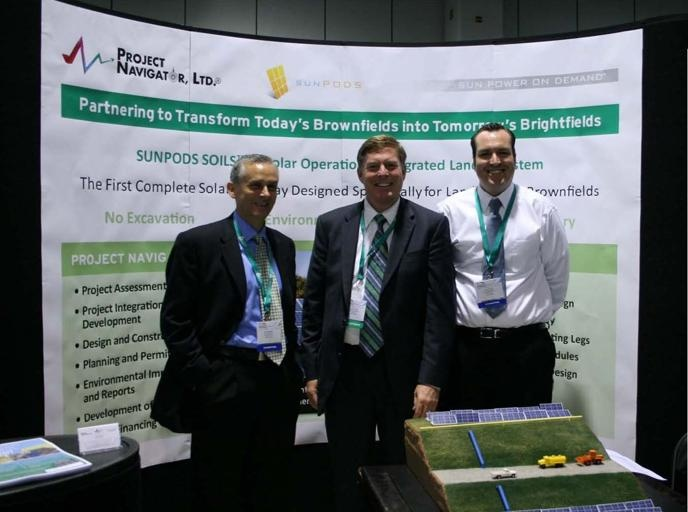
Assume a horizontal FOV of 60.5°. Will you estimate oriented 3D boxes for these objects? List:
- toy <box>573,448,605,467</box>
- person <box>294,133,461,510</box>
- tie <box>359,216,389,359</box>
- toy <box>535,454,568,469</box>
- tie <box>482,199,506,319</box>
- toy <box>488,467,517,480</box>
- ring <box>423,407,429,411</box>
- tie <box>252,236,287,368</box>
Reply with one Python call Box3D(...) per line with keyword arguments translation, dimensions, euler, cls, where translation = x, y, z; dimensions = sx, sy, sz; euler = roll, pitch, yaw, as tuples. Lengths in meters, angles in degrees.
Box3D(translation=(1.055, 0.868, 2.529), dimensions=(0.098, 0.060, 0.059), euler=(0, -10, -4), cls="toy")
Box3D(translation=(0.187, 0.382, 3.399), dimensions=(0.913, 2.150, 0.332), euler=(-3, 2, 10), cls="person")
Box3D(translation=(0.142, 0.203, 3.252), dimensions=(0.180, 0.990, 0.063), euler=(14, 32, 17), cls="tie")
Box3D(translation=(0.882, 0.876, 2.505), dimensions=(0.091, 0.051, 0.057), euler=(-4, -1, 3), cls="toy")
Box3D(translation=(0.888, 0.009, 3.530), dimensions=(0.150, 0.960, 0.042), euler=(-2, 40, 12), cls="tie")
Box3D(translation=(0.660, 0.905, 2.455), dimensions=(0.077, 0.030, 0.045), euler=(1, -4, -6), cls="toy")
Box3D(translation=(0.455, 0.838, 3.222), dimensions=(0.028, 0.036, 0.014), euler=(-4, 2, -9), cls="ring")
Box3D(translation=(-0.442, 0.260, 3.480), dimensions=(0.170, 0.906, 0.058), euler=(-2, 31, 1), cls="tie")
